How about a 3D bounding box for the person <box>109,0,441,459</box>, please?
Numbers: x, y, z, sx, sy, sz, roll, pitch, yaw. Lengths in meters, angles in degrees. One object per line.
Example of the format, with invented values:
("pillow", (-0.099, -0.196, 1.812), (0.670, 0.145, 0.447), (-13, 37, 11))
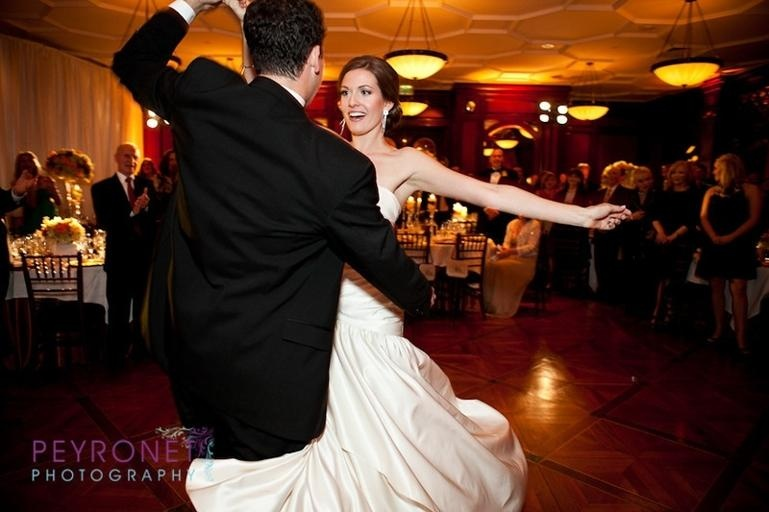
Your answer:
("person", (-0.637, -0.071, 2.712), (1.418, 2.185, 0.590), (6, 16, 21))
